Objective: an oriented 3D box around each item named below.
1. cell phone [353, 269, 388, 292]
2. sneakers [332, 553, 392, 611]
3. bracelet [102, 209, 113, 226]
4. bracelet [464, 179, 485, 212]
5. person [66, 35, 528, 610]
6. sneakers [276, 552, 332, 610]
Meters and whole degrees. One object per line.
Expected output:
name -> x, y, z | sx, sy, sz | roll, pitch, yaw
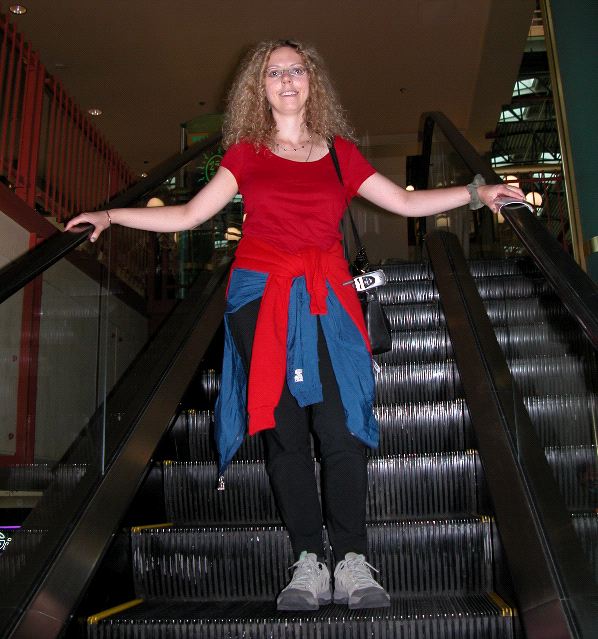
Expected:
cell phone -> 0.213, -0.119, 1.611 | 0.109, 0.062, 0.031 | -18, 5, -8
sneakers -> 0.147, 0.633, 1.267 | 0.071, 0.101, 0.189 | 3, -22, -11
bracelet -> -0.575, -0.310, 1.612 | 0.013, 0.041, 0.031 | -8, 5, -2
bracelet -> 0.528, -0.394, 1.604 | 0.033, 0.108, 0.071 | 12, -11, -17
person -> -0.006, -0.077, 1.467 | 0.943, 1.604, 0.297 | -5, -18, 12
sneakers -> 0.006, 0.639, 1.270 | 0.067, 0.102, 0.194 | -4, -23, 9
